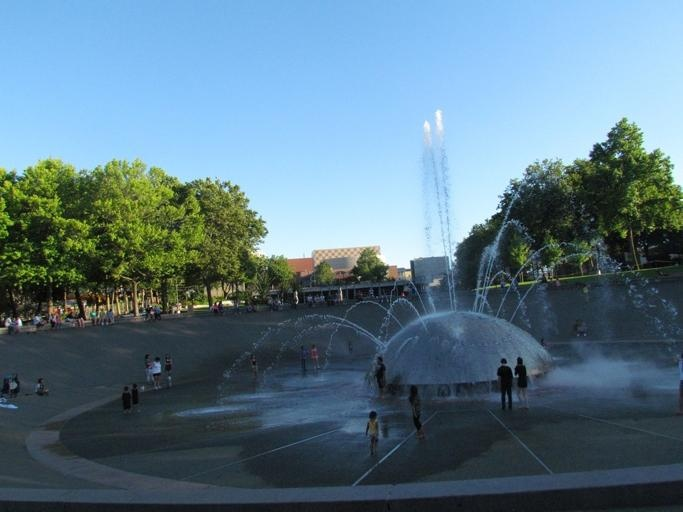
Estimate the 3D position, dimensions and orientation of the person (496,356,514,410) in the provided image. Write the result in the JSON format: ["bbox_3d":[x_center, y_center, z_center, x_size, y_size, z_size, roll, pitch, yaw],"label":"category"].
[{"bbox_3d":[5.330,4.103,16.693,0.436,1.512,1.783,-6,-10,16],"label":"person"}]

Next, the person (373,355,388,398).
[{"bbox_3d":[1.465,4.493,19.362,0.388,1.339,0.980,-4,-9,5],"label":"person"}]

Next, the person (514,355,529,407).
[{"bbox_3d":[5.694,3.978,16.212,0.313,1.494,0.918,-6,-9,17],"label":"person"}]
